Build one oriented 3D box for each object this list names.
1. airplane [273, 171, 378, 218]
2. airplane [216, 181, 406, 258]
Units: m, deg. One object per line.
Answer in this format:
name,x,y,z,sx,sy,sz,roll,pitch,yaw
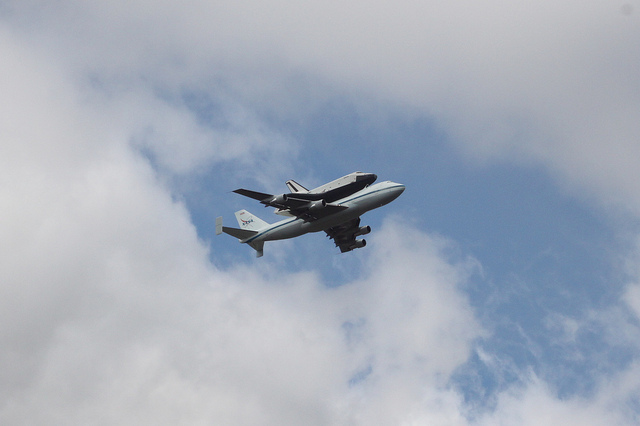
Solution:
airplane,0.545,-4.843,184.872,13.734,5.200,12.205,-18,7,21
airplane,-1.492,0.872,185.266,23.789,14.374,8.323,5,36,3
